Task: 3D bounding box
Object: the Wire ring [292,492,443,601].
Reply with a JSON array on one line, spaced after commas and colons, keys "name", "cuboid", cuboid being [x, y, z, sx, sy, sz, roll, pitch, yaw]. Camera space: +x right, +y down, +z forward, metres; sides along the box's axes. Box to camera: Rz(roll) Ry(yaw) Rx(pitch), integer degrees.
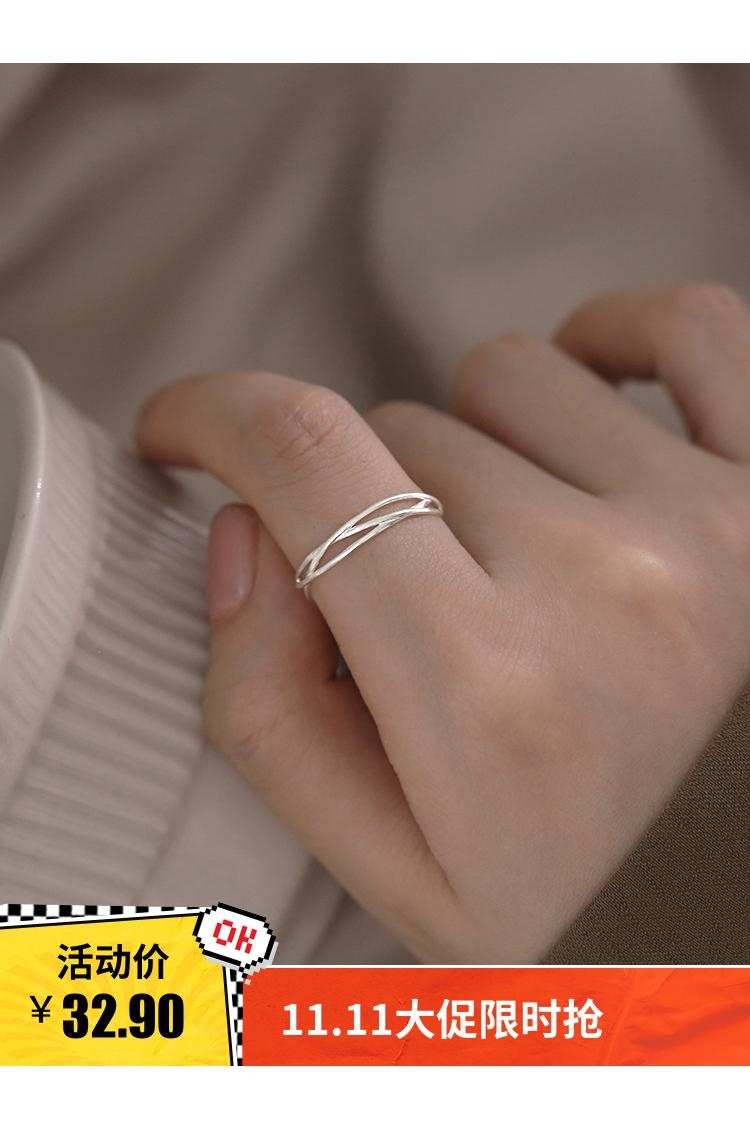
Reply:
[{"name": "Wire ring", "cuboid": [-0.005, -0.016, 0.613, 0.062, 0.066, 0.020, -19, 76, -52]}]
